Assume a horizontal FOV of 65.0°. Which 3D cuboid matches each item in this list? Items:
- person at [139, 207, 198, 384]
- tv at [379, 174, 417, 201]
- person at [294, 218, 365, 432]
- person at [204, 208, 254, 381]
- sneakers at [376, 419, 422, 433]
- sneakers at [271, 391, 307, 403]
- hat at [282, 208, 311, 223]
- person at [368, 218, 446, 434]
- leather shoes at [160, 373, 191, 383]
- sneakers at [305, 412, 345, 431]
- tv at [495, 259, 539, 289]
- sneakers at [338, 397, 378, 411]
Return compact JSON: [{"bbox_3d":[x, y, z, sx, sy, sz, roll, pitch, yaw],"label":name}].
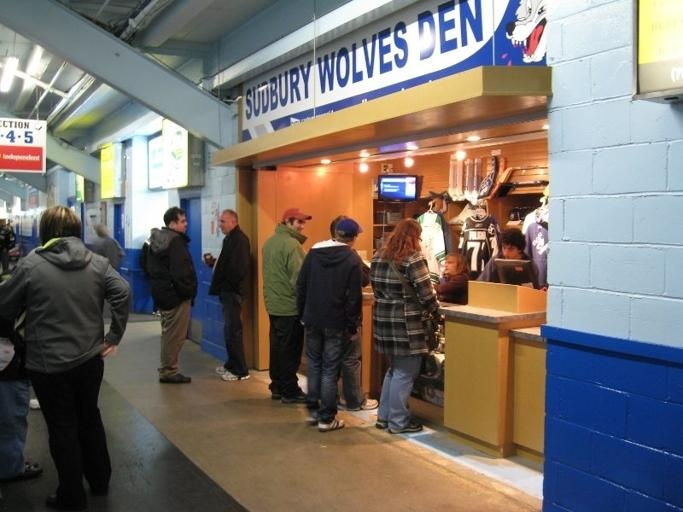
[{"bbox_3d":[-2.017,0.446,6.298,0.568,2.060,0.717,-1,3,-20],"label":"person"},{"bbox_3d":[0.844,-1.002,7.761,0.708,0.359,0.181,-2,3,-27],"label":"tv"},{"bbox_3d":[-0.116,0.594,4.895,0.572,1.881,0.435,0,3,-5],"label":"person"},{"bbox_3d":[-1.331,0.452,6.419,0.504,2.018,0.265,1,3,20],"label":"person"},{"bbox_3d":[0.518,1.503,4.762,0.398,0.162,0.143,1,-4,-20],"label":"sneakers"},{"bbox_3d":[-0.552,1.429,5.603,0.332,0.145,0.130,-1,-3,-10],"label":"sneakers"},{"bbox_3d":[-0.473,-0.441,5.750,0.245,0.100,0.160,3,2,-3],"label":"hat"},{"bbox_3d":[0.536,0.614,4.634,0.626,1.870,0.292,1,3,19],"label":"person"},{"bbox_3d":[-1.941,1.386,6.297,0.370,0.156,0.134,2,-4,-20],"label":"leather shoes"},{"bbox_3d":[-0.141,1.495,4.839,0.130,0.156,0.357,-1,-3,39],"label":"sneakers"},{"bbox_3d":[1.458,0.143,4.478,0.209,0.213,0.074,-2,28,49],"label":"tv"},{"bbox_3d":[0.177,1.484,5.393,0.389,0.172,0.147,0,-5,-16],"label":"sneakers"}]
